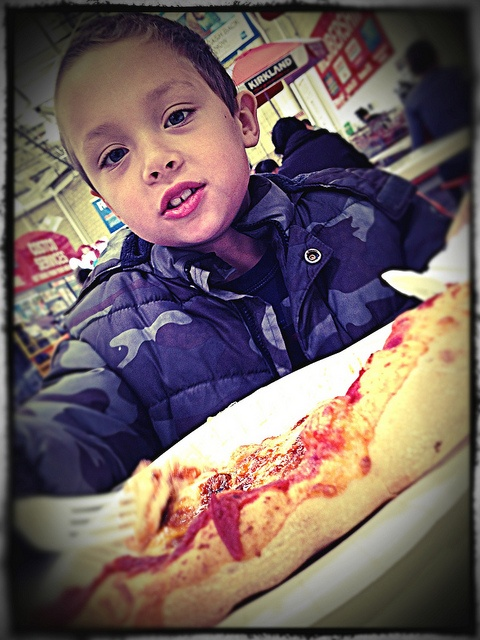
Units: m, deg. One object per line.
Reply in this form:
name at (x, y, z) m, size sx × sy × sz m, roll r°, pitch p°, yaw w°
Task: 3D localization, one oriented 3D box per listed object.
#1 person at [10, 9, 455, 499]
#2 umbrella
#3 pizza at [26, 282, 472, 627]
person at (-0.053, -0.192, 1.625) m, size 1.006 × 0.972 × 0.638 m, roll -28°, pitch 10°, yaw 4°
umbrella at (0.118, -0.830, 1.676) m, size 0.241 × 0.105 × 0.248 m, roll -45°, pitch 23°, yaw 12°
pizza at (0.109, 0.478, 1.605) m, size 1.346 × 0.232 × 0.715 m, roll -40°, pitch 17°, yaw -1°
